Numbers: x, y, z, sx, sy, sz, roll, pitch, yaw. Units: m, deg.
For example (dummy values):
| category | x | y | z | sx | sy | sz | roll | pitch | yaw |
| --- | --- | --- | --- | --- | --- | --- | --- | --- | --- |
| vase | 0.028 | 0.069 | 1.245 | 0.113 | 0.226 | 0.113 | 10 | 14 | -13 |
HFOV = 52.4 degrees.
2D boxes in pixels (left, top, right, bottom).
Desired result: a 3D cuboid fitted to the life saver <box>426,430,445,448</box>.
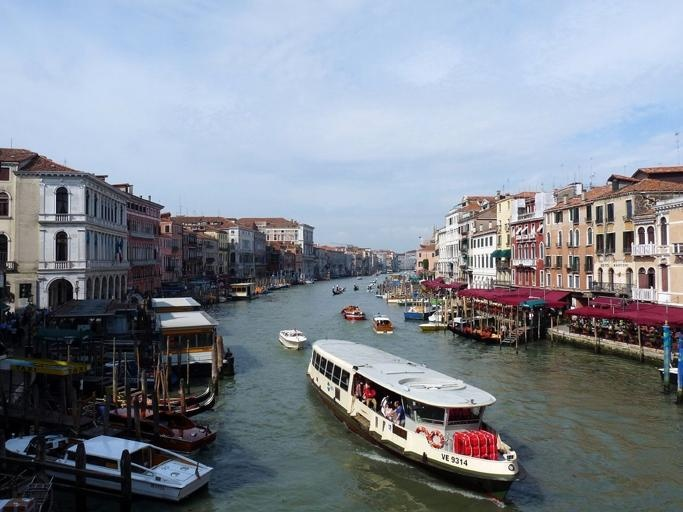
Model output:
| category | x | y | z | sx | sy | sz | roll | pitch | yaw |
| --- | --- | --- | --- | --- | --- | --- | --- | --- | --- |
| life saver | 5.378 | 10.336 | 39.487 | 1.036 | 0.778 | 0.622 | 6 | 15 | 20 |

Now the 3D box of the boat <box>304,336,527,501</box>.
| category | x | y | z | sx | sy | sz | roll | pitch | yaw |
| --- | --- | --- | --- | --- | --- | --- | --- | --- | --- |
| boat | 3.368 | 9.329 | 46.061 | 5.883 | 5.291 | 21.704 | -5 | 14 | -23 |

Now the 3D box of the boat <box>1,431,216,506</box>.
| category | x | y | z | sx | sy | sz | roll | pitch | yaw |
| --- | --- | --- | --- | --- | --- | --- | --- | --- | --- |
| boat | -13.606 | 11.522 | 38.552 | 11.775 | 3.338 | 4.395 | 4 | 14 | 12 |

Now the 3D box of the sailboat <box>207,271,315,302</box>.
| category | x | y | z | sx | sy | sz | roll | pitch | yaw |
| --- | --- | --- | --- | --- | --- | --- | --- | --- | --- |
| sailboat | -19.380 | 6.950 | 163.172 | 5.198 | 3.682 | 28.494 | 0 | -3 | 11 |
